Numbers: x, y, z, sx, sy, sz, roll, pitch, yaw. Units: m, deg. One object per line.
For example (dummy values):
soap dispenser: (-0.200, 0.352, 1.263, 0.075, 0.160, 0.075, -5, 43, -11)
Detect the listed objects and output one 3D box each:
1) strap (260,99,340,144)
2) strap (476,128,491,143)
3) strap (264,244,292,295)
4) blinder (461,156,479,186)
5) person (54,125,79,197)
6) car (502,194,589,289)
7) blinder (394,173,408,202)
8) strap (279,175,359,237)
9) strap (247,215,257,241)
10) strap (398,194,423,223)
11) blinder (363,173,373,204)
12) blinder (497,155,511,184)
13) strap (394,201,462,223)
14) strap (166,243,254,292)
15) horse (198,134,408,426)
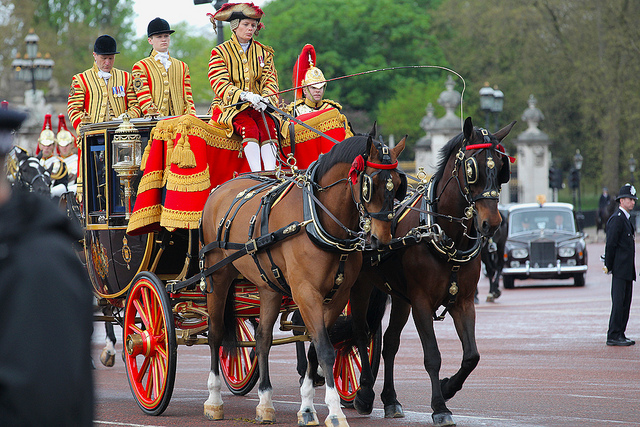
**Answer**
strap: (-0.381, -1.661, 27.312, 1.831, 0.100, 0.133, 28, 1, 15)
strap: (2.872, -1.348, 25.594, 0.085, 0.256, 0.201, -19, -8, 6)
strap: (-0.714, 0.932, 25.662, 0.151, 1.008, 0.161, -46, -17, 31)
blinder: (2.604, -0.720, 25.474, 0.326, 0.484, 0.109, 2, 3, 44)
person: (-5.395, -1.057, 31.273, 0.663, 1.658, 0.740, 1, -1, -7)
car: (6.117, 0.556, 40.377, 2.189, 1.967, 3.933, -2, 12, 8)
blinder: (1.408, -0.450, 25.185, 0.168, 0.471, 0.344, 0, 2, 17)
strap: (0.051, -0.092, 25.427, 1.444, 0.183, 0.254, 38, 41, 19)
strap: (-1.195, 0.255, 25.870, 0.132, 0.439, 0.110, 20, -9, -18)
strap: (1.600, -0.066, 25.967, 0.668, 0.093, 0.093, -40, -9, -15)
blinder: (0.826, -0.411, 24.983, 0.167, 0.495, 0.087, 1, 3, 25)
blinder: (3.224, -0.754, 25.615, 0.318, 0.407, 0.144, 0, -10, 12)
strap: (1.944, -0.020, 25.789, 0.851, 0.087, 0.111, 19, 42, 18)
strap: (-1.910, 0.972, 26.478, 1.470, 0.198, 0.203, -30, -12, 10)
horse: (-0.430, 1.159, 25.686, 3.719, 4.972, 0.967, 1, 3, 26)
